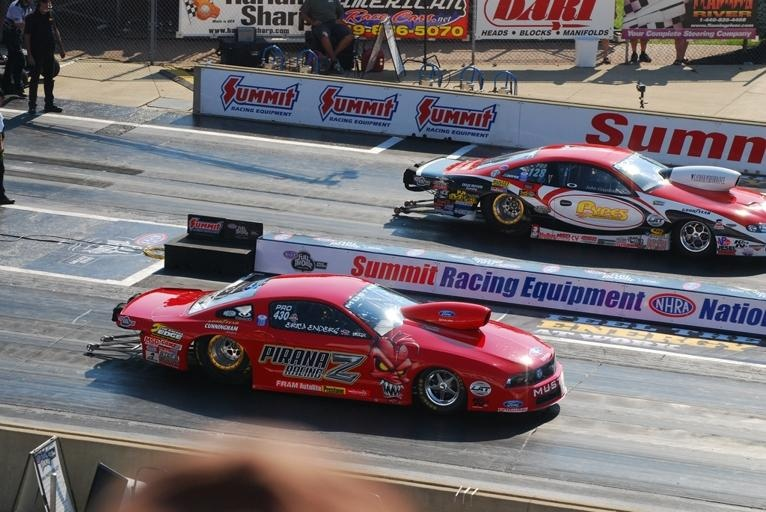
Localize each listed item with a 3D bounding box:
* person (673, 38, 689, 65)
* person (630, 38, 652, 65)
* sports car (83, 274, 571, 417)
[{"bbox_3d":[9.122,-6.255,27.963,0.444,0.792,0.769,12,26,19],"label":"person"},{"bbox_3d":[7.857,-6.304,27.890,0.697,0.798,0.782,7,25,11],"label":"person"},{"bbox_3d":[-0.463,1.124,12.788,8.164,1.154,1.868,4,21,7],"label":"sports car"}]
